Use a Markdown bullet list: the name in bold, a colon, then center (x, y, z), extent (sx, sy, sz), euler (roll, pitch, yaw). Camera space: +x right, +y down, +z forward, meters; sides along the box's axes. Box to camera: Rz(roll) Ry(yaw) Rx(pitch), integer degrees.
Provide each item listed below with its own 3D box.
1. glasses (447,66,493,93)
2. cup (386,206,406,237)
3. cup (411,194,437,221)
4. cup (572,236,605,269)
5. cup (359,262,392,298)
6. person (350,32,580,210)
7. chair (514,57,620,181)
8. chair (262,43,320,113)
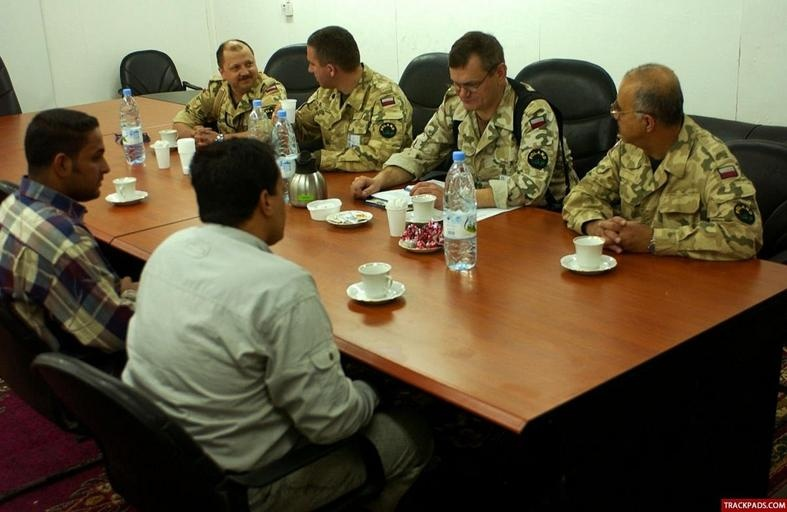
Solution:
- **glasses**: center (0.416, -0.874, 2.767), extent (0.139, 0.043, 0.130), euler (-36, 24, -28)
- **cup**: center (0.015, -0.151, 2.347), extent (0.106, 0.121, 0.109), euler (0, 7, 0)
- **cup**: center (0.132, -0.218, 2.442), extent (0.101, 0.107, 0.101), euler (-2, 5, 0)
- **cup**: center (0.697, -0.014, 1.989), extent (0.100, 0.095, 0.108), euler (-4, 12, 1)
- **cup**: center (-0.061, 0.078, 1.890), extent (0.096, 0.090, 0.113), euler (-5, 7, -14)
- **person**: center (0.485, -0.702, 3.129), extent (1.187, 1.199, 0.886), euler (-14, 20, -33)
- **chair**: center (1.060, -0.827, 3.260), extent (0.540, 0.838, 0.689), euler (6, 22, 30)
- **chair**: center (-0.859, -1.623, 5.106), extent (0.485, 0.708, 0.589), euler (-1, 10, -1)
